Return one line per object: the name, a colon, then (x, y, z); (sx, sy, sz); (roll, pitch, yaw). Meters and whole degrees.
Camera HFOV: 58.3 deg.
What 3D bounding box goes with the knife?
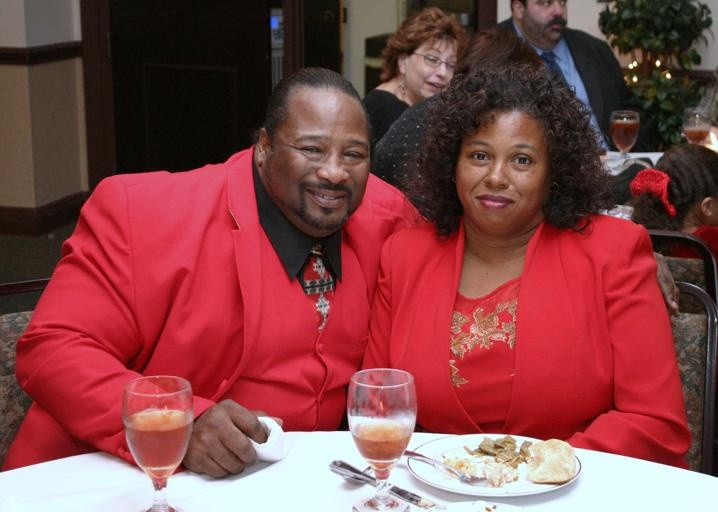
knife: (0.059, 0.487, 1.362); (0.270, 0.029, 0.047); (17, 28, 35)
